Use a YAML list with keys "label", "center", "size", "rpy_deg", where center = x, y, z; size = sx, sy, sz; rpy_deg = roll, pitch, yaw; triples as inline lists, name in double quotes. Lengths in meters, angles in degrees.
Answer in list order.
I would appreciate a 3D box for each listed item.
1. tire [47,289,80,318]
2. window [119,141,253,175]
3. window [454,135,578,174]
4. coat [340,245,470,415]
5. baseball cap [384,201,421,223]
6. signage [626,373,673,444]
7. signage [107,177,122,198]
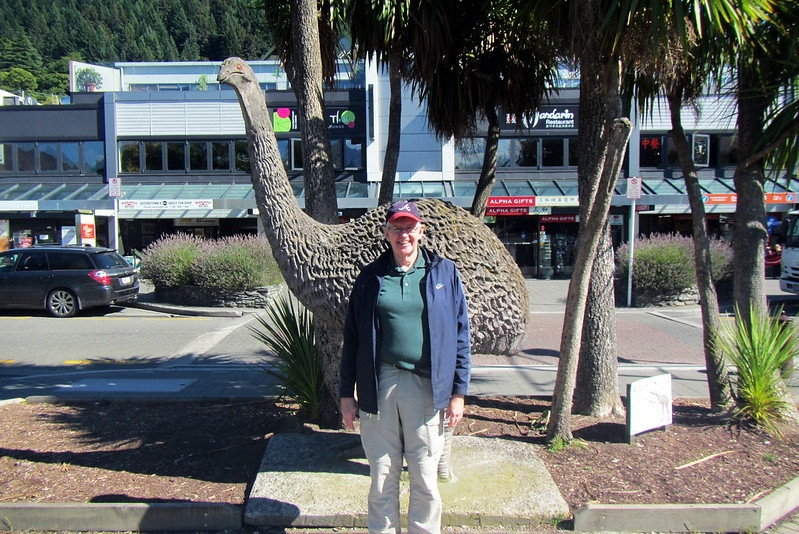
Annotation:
- label: "tire"
  center: [-8.653, 0.898, 17.105]
  size: [0.628, 0.674, 0.228]
  rpy_deg: [-5, -4, -1]
- label: "window"
  center: [-9.554, -4.851, 29.605]
  size: [5.685, 1.579, 0.343]
  rpy_deg: [-1, -2, -4]
- label: "window"
  center: [5.500, -4.776, 28.201]
  size: [4.400, 1.519, 0.280]
  rpy_deg: [8, -3, 39]
- label: "coat"
  center: [0.045, 0.723, 7.074]
  size: [1.818, 2.169, 1.126]
  rpy_deg: [-1, -2, 0]
- label: "baseball cap"
  center: [0.044, -0.564, 7.185]
  size: [0.313, 0.229, 0.521]
  rpy_deg: [-2, -9, 2]
- label: "signage"
  center: [3.250, 1.876, 8.686]
  size: [0.826, 0.741, 0.116]
  rpy_deg: [0, -1, -40]
- label: "signage"
  center: [-10.473, -2.849, 24.444]
  size: [0.395, 0.765, 1.777]
  rpy_deg: [-7, 14, -25]
